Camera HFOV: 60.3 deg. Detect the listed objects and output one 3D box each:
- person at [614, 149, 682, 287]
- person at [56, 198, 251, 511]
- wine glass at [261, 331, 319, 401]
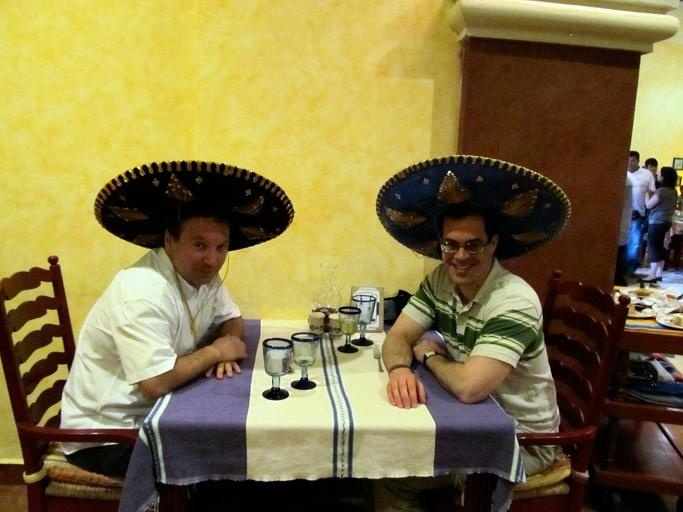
[{"bbox_3d":[2.755,-0.322,5.268,0.457,1.134,1.146,0,0,32],"label":"person"},{"bbox_3d":[-0.865,0.379,2.853,0.818,1.312,0.785,12,16,5],"label":"person"},{"bbox_3d":[-0.227,0.490,2.583,0.104,0.178,0.235,7,9,37],"label":"wine glass"}]
